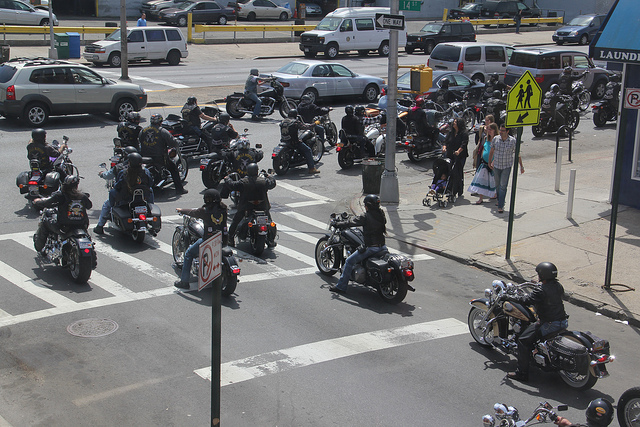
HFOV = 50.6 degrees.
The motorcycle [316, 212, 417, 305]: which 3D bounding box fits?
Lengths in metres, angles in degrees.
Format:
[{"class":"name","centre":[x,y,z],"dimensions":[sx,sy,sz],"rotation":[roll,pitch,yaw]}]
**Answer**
[{"class":"motorcycle","centre":[0.939,0.861,15.044],"dimensions":[1.172,1.710,3.201],"rotation":[-7,15,-35]}]

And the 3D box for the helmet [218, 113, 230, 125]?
[{"class":"helmet","centre":[-2.889,-2.825,20.362],"dimensions":[0.287,0.321,0.427],"rotation":[1,18,4]}]

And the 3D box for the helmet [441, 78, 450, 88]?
[{"class":"helmet","centre":[5.035,-5.247,27.062],"dimensions":[0.327,0.396,0.415],"rotation":[5,-26,4]}]

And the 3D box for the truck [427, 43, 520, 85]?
[{"class":"truck","centre":[7.549,-7.065,33.286],"dimensions":[4.748,1.845,2.667],"rotation":[-17,26,-28]}]

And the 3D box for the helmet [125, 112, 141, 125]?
[{"class":"helmet","centre":[-5.442,-2.857,19.724],"dimensions":[0.333,0.401,0.408],"rotation":[29,44,14]}]

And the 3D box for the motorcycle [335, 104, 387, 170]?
[{"class":"motorcycle","centre":[1.470,-2.223,22.907],"dimensions":[1.930,1.390,0.937],"rotation":[-17,25,-42]}]

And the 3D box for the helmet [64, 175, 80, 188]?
[{"class":"helmet","centre":[-5.417,-0.684,14.735],"dimensions":[0.302,0.232,0.319],"rotation":[-8,19,-22]}]

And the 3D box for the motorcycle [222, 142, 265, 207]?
[{"class":"motorcycle","centre":[-2.284,-1.086,18.714],"dimensions":[1.316,1.234,1.937],"rotation":[2,34,1]}]

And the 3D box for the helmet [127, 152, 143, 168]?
[{"class":"helmet","centre":[-4.470,-1.301,16.568],"dimensions":[0.320,0.377,0.378],"rotation":[-7,64,-35]}]

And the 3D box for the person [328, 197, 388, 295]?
[{"class":"person","centre":[0.885,0.681,14.590],"dimensions":[1.092,2.031,0.892],"rotation":[0,19,0]}]

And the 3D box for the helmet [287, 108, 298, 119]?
[{"class":"helmet","centre":[-0.831,-3.164,21.457],"dimensions":[0.278,0.224,0.506],"rotation":[-1,17,-2]}]

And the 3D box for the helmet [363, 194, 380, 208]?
[{"class":"helmet","centre":[1.135,-0.234,14.506],"dimensions":[0.247,0.245,0.307],"rotation":[-6,31,-21]}]

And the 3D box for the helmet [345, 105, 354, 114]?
[{"class":"helmet","centre":[0.973,-3.434,22.325],"dimensions":[0.281,0.302,0.312],"rotation":[9,-1,28]}]

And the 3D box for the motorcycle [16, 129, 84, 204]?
[{"class":"motorcycle","centre":[-7.363,-1.321,18.524],"dimensions":[1.071,1.441,2.611],"rotation":[-1,25,-1]}]

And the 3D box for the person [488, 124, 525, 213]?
[{"class":"person","centre":[5.067,-1.247,18.797],"dimensions":[0.507,2.424,0.772],"rotation":[-9,21,-23]}]

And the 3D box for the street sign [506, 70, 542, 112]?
[{"class":"street sign","centre":[4.798,-2.881,15.777],"dimensions":[1.003,0.898,0.222],"rotation":[-7,20,-21]}]

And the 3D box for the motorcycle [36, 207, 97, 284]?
[{"class":"motorcycle","centre":[-5.304,0.669,14.866],"dimensions":[0.982,1.029,1.894],"rotation":[-10,31,-40]}]

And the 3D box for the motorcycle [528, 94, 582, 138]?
[{"class":"motorcycle","centre":[9.347,-3.951,26.653],"dimensions":[2.727,1.601,1.127],"rotation":[-12,25,-33]}]

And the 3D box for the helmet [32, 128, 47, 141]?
[{"class":"helmet","centre":[-7.520,-2.081,18.069],"dimensions":[0.307,0.299,0.339],"rotation":[-7,19,-22]}]

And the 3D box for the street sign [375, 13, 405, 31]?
[{"class":"street sign","centre":[1.923,-5.210,18.437],"dimensions":[0.750,0.405,0.586],"rotation":[0,18,1]}]

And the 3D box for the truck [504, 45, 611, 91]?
[{"class":"truck","centre":[11.697,-6.710,32.773],"dimensions":[5.314,2.424,2.905],"rotation":[-12,21,-33]}]

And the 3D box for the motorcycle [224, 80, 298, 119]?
[{"class":"motorcycle","centre":[-2.368,-4.732,28.262],"dimensions":[3.230,1.502,1.375],"rotation":[-1,8,-13]}]

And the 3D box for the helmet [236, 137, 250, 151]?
[{"class":"helmet","centre":[-2.018,-1.840,17.971],"dimensions":[0.289,0.314,0.342],"rotation":[1,33,-10]}]

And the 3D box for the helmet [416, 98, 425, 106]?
[{"class":"helmet","centre":[3.460,-3.800,23.110],"dimensions":[0.266,0.228,0.333],"rotation":[1,18,4]}]

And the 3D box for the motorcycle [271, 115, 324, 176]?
[{"class":"motorcycle","centre":[-0.602,-2.158,22.259],"dimensions":[0.851,1.601,2.383],"rotation":[10,20,28]}]

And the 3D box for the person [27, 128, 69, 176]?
[{"class":"person","centre":[-7.278,-1.666,18.225],"dimensions":[0.923,0.955,1.738],"rotation":[-11,30,-42]}]

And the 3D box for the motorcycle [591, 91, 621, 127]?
[{"class":"motorcycle","centre":[12.024,-4.425,28.777],"dimensions":[0.934,1.287,2.177],"rotation":[-15,-9,32]}]

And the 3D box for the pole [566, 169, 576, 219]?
[{"class":"pole","centre":[6.881,-0.562,18.383],"dimensions":[0.177,1.371,0.716],"rotation":[7,20,20]}]

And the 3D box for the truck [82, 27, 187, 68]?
[{"class":"truck","centre":[-9.831,-9.784,39.755],"dimensions":[5.653,1.921,2.527],"rotation":[1,15,12]}]

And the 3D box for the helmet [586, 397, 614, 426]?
[{"class":"helmet","centre":[4.262,3.061,10.470],"dimensions":[0.368,0.394,0.439],"rotation":[2,16,5]}]

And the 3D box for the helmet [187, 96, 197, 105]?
[{"class":"helmet","centre":[-4.008,-3.520,21.195],"dimensions":[0.248,0.227,0.362],"rotation":[-4,18,-12]}]

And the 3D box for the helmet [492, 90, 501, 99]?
[{"class":"helmet","centre":[7.055,-4.664,26.818],"dimensions":[0.259,0.323,0.339],"rotation":[13,2,-26]}]

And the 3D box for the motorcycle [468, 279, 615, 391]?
[{"class":"motorcycle","centre":[3.944,2.075,12.410],"dimensions":[1.596,1.598,3.067],"rotation":[-7,16,-32]}]

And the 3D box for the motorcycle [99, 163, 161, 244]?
[{"class":"motorcycle","centre":[-4.698,-0.078,16.890],"dimensions":[0.898,0.960,1.744],"rotation":[-6,20,-26]}]
